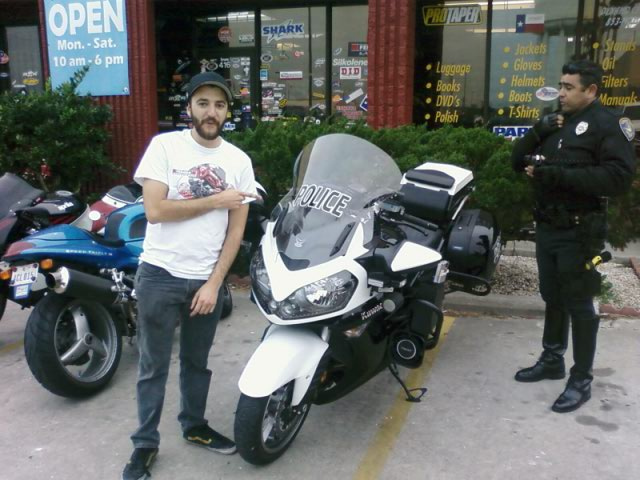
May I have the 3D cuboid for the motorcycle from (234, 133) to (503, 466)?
[{"bbox_3d":[0.197,0.091,4.922,1.503,1.924,3.018,13,26,38],"label":"motorcycle"}]

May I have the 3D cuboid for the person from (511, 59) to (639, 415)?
[{"bbox_3d":[2.059,-0.073,4.808,0.683,2.689,0.874,-9,17,-32],"label":"person"}]

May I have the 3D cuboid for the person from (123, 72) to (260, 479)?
[{"bbox_3d":[-0.898,0.230,4.034,0.984,2.672,0.569,-5,15,-20],"label":"person"}]

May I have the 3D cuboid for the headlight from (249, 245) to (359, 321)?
[{"bbox_3d":[-0.165,0.331,3.975,0.795,0.345,0.315,7,15,23],"label":"headlight"}]

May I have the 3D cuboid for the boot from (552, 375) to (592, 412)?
[{"bbox_3d":[2.036,1.209,4.767,0.428,0.245,0.162,-19,10,-33],"label":"boot"}]
